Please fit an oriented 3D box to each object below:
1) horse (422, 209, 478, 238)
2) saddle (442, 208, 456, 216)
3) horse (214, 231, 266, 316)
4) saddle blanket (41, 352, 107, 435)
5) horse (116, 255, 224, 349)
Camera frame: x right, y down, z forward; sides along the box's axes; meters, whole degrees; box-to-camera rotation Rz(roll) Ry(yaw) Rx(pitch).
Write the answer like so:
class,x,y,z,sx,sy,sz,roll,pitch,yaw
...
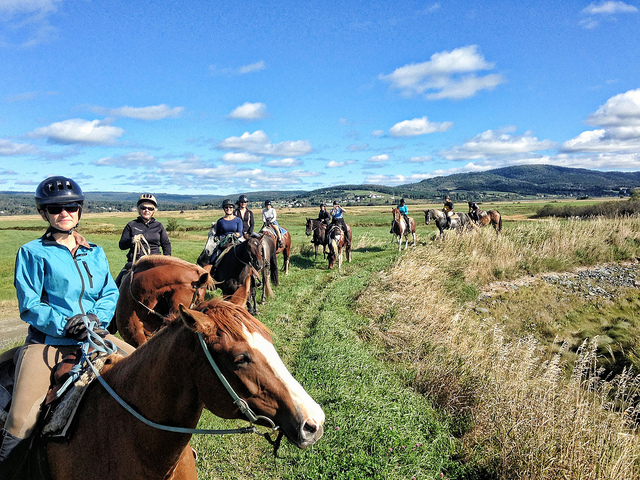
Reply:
class,x,y,z,sx,sy,sz,roll,pitch,yaw
horse,9.957,-1.203,30.541,3.112,2.140,3.966,1,8,0
saddle,9.776,-2.188,30.350,1.431,0.398,1.475,2,1,22
horse,-2.318,1.281,12.165,0.898,2.290,3.404,-17,-1,-34
saddle blanket,-2.663,1.665,4.631,0.266,1.239,0.218,30,-30,4
horse,-2.515,0.800,6.882,1.465,1.855,1.953,0,12,-4
